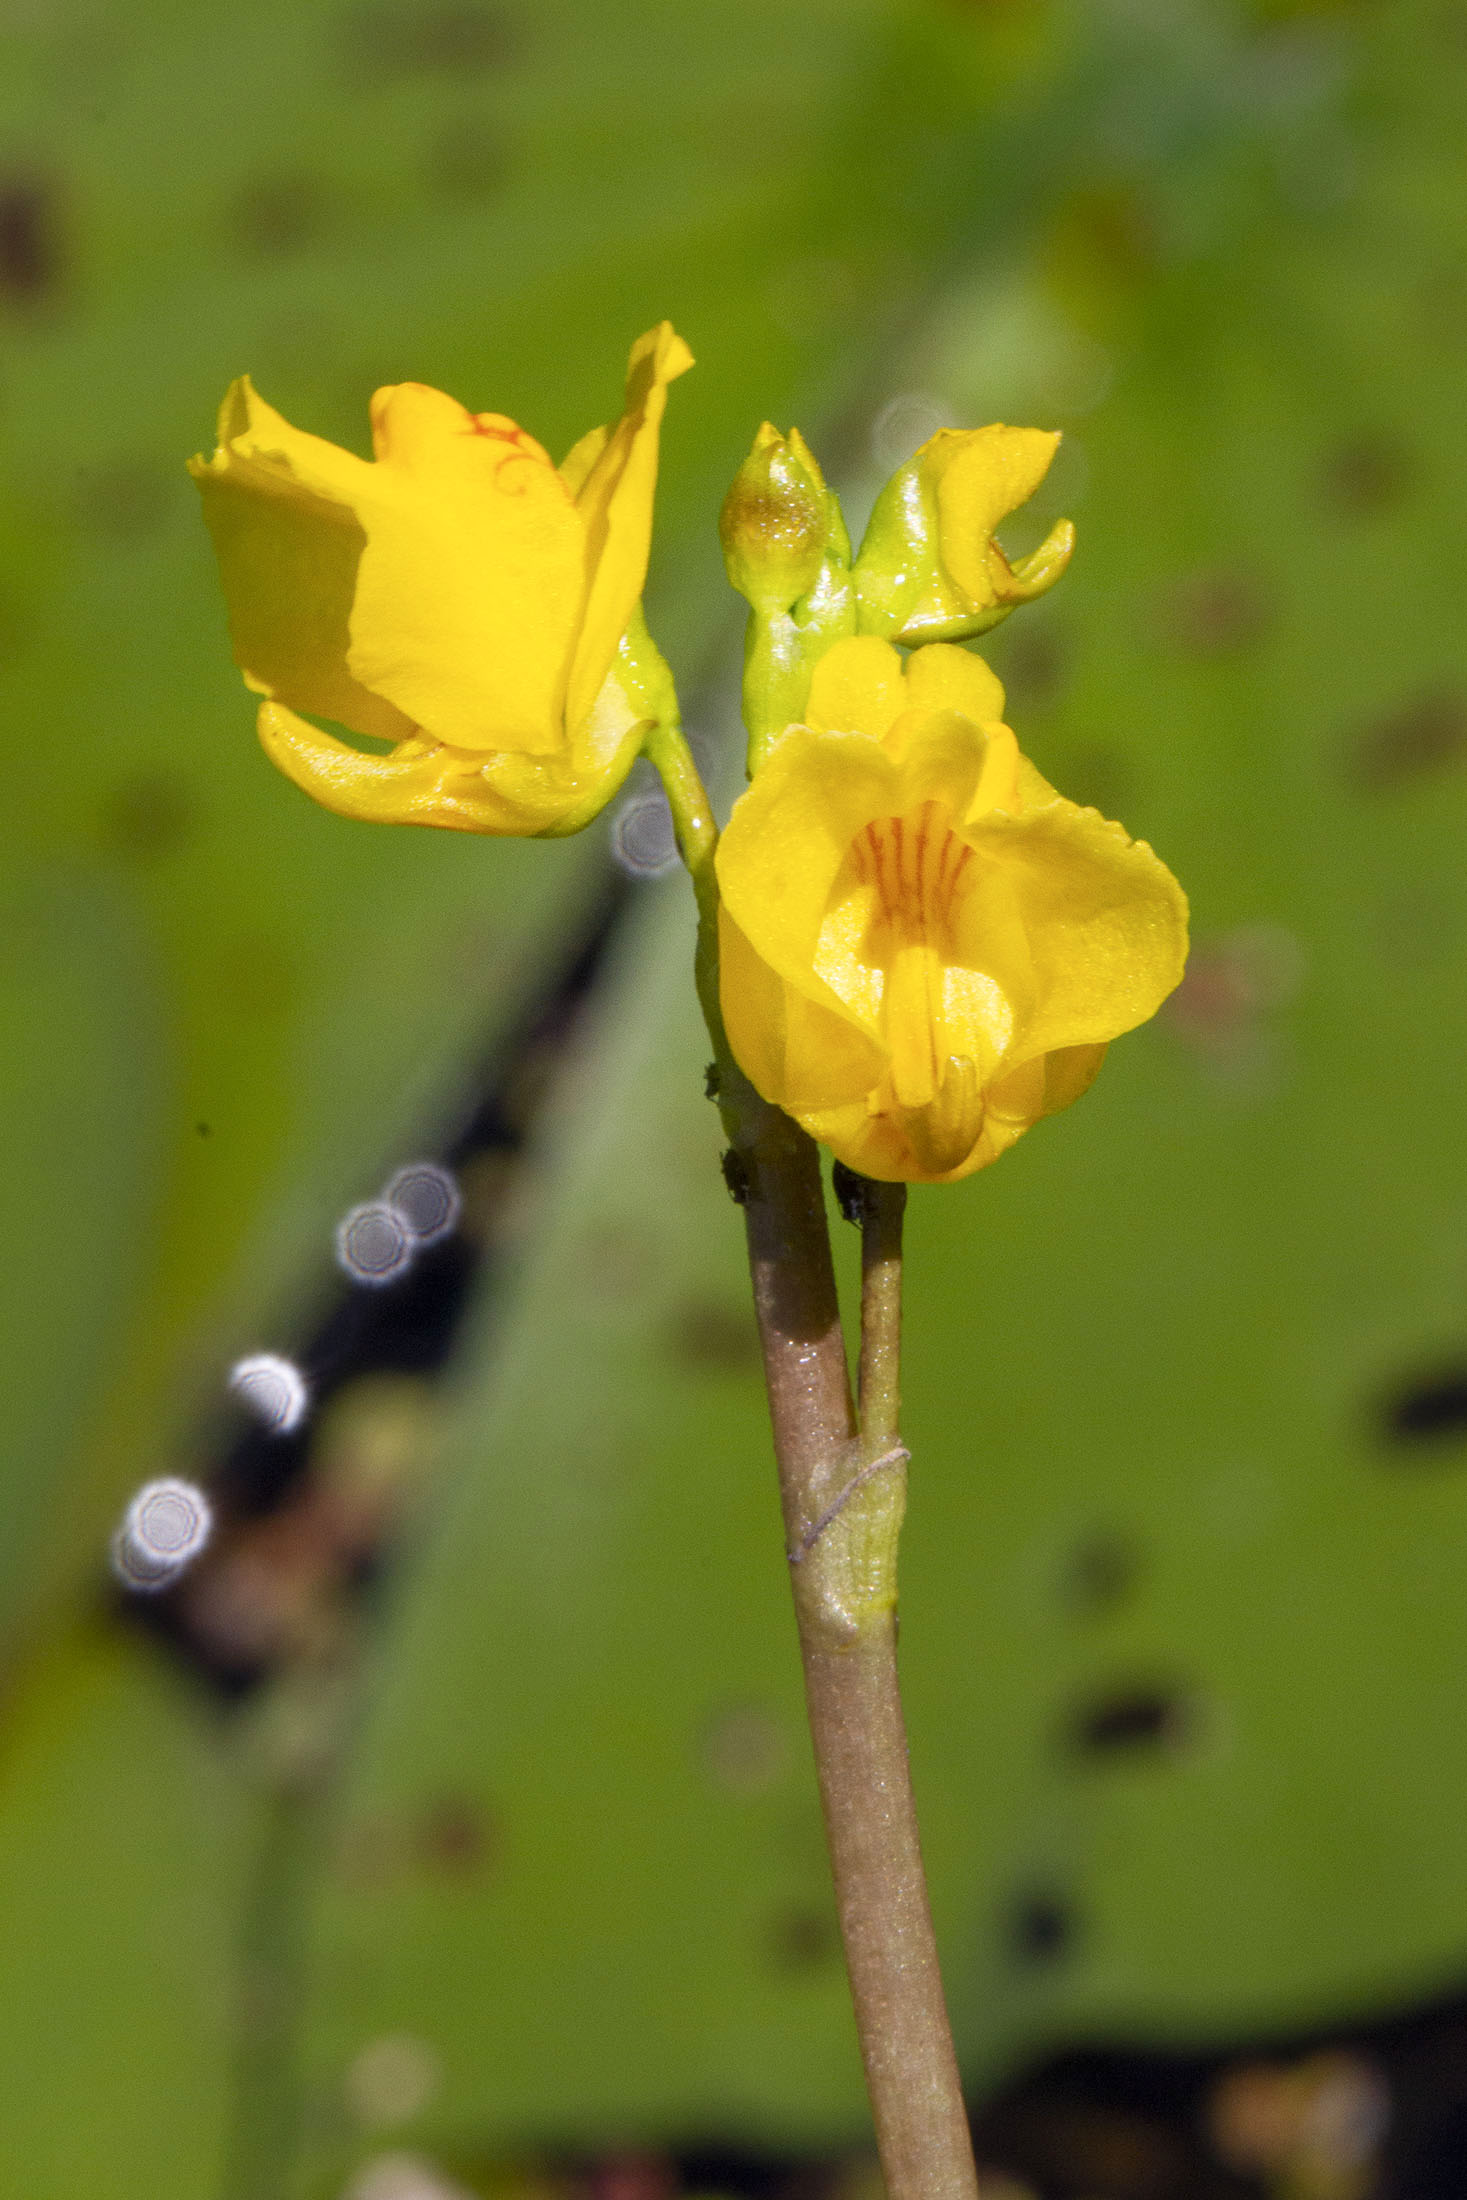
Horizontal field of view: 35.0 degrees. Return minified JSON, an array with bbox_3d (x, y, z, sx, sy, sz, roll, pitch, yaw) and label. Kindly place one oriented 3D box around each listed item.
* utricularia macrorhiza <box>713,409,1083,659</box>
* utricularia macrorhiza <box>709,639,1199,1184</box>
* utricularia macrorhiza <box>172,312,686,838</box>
[{"bbox_3d":[0.023,-0.076,0.317,0.039,0.016,0.034,26,75,10],"label":"utricularia macrorhiza"},{"bbox_3d":[0.024,-0.021,0.296,0.069,0.033,0.065,-2,91,2],"label":"utricularia macrorhiza"},{"bbox_3d":[-0.038,-0.069,0.322,0.069,0.044,0.061,-6,64,-5],"label":"utricularia macrorhiza"}]
